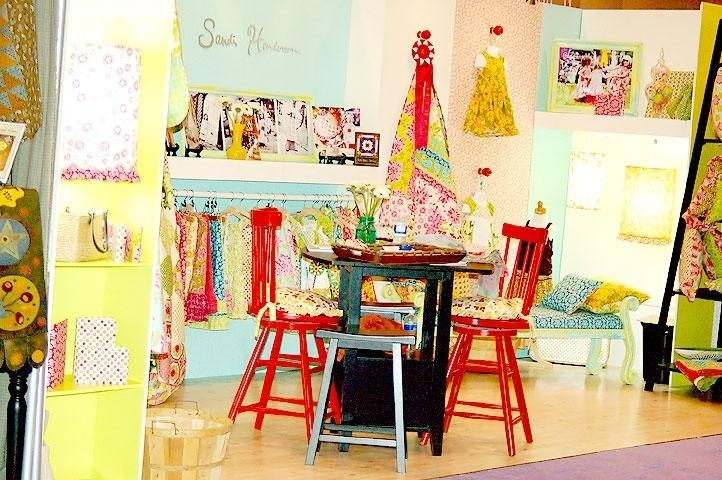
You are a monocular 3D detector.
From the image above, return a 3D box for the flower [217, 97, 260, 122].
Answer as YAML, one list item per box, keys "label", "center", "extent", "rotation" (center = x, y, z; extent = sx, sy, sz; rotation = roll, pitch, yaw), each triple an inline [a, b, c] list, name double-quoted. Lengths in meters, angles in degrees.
- label: "flower"
  center: [-1.109, -1.214, 5.655]
  extent: [0.263, 0.237, 0.094]
  rotation: [21, -36, -20]

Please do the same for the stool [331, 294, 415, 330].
- label: "stool"
  center: [0.163, 0.561, 4.613]
  extent: [0.364, 0.135, 0.329]
  rotation: [-2, 6, -27]

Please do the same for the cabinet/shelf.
- label: "cabinet/shelf"
  center: [-1.331, 0.217, 3.209]
  extent: [0.453, 1.011, 0.443]
  rotation: [1, 5, -25]

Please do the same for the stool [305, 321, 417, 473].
- label: "stool"
  center: [-0.004, 1.070, 4.285]
  extent: [0.828, 1.225, 0.873]
  rotation: [3, -10, 4]

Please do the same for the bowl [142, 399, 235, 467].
- label: "bowl"
  center: [-0.954, 1.084, 3.435]
  extent: [0.379, 0.292, 0.371]
  rotation: [3, -3, 0]

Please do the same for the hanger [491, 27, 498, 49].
- label: "hanger"
  center: [1.436, -2.210, 6.769]
  extent: [0.100, 0.207, 0.062]
  rotation: [4, 5, 5]

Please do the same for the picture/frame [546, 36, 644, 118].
- label: "picture/frame"
  center: [2.647, -1.813, 7.018]
  extent: [0.920, 0.795, 0.072]
  rotation: [3, 0, 4]

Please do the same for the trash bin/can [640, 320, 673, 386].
- label: "trash bin/can"
  center: [3.094, 1.198, 6.559]
  extent: [0.316, 0.644, 0.402]
  rotation: [5, 5, 18]

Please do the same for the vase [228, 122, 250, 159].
- label: "vase"
  center: [-1.096, -0.888, 5.568]
  extent: [0.096, 0.339, 0.181]
  rotation: [7, 6, 34]

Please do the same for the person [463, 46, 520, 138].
- label: "person"
  center: [1.400, -1.551, 6.700]
  extent: [0.547, 0.893, 0.238]
  rotation: [2, 5, -18]
